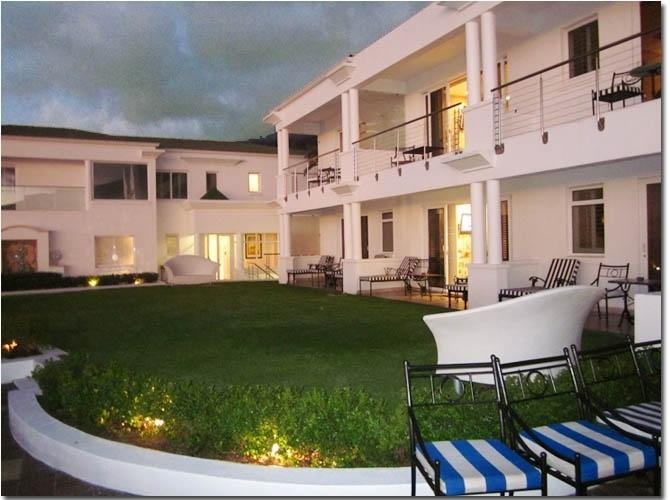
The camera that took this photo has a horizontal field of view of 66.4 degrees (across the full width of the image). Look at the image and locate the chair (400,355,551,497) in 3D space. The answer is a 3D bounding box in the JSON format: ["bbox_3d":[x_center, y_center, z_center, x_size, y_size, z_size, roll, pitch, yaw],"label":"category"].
[{"bbox_3d":[1.249,1.610,5.084,1.106,1.239,2.271,-1,-2,8],"label":"chair"}]

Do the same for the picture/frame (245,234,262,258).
[{"bbox_3d":[-4.345,-0.220,26.577,1.128,1.769,0.218,0,1,-29],"label":"picture/frame"}]

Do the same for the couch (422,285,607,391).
[{"bbox_3d":[2.091,0.960,6.224,1.526,0.653,1.383,-4,-4,24],"label":"couch"}]
